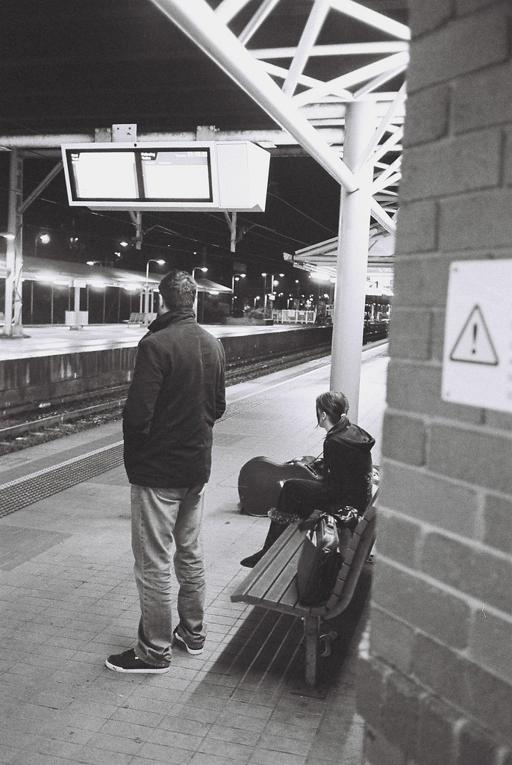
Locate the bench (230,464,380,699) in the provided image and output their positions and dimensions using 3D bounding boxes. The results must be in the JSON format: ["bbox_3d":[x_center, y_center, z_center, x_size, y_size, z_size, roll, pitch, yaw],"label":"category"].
[{"bbox_3d":[0.260,0.980,3.086,0.584,0.680,0.780,2,5,15],"label":"bench"}]

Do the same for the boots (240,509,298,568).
[{"bbox_3d":[0.077,0.983,3.958,0.300,0.381,0.153,13,1,-22],"label":"boots"}]

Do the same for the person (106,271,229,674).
[{"bbox_3d":[-0.394,0.405,2.968,0.569,1.823,0.258,-4,6,-43],"label":"person"}]

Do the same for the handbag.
[{"bbox_3d":[0.283,0.798,2.898,0.202,0.336,0.324,2,5,14],"label":"handbag"}]

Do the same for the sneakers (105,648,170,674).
[{"bbox_3d":[-0.550,1.287,2.993,0.282,0.145,0.119,6,-5,2],"label":"sneakers"}]
